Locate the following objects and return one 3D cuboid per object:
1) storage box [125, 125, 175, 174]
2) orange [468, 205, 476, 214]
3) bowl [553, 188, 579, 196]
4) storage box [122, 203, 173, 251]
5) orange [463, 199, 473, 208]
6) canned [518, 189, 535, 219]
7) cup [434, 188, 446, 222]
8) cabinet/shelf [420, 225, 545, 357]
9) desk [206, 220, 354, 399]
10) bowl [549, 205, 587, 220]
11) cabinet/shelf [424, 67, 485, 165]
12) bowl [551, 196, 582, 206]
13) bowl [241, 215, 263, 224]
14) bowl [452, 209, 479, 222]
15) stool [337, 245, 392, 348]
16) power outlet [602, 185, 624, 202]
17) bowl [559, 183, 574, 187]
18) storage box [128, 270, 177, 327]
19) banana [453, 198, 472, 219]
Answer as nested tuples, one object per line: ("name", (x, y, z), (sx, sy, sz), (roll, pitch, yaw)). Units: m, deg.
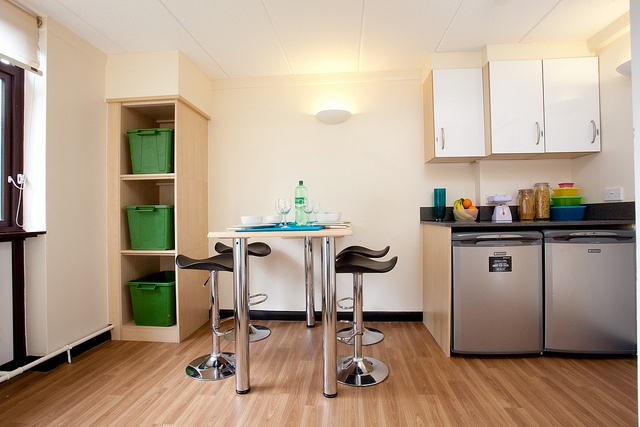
("storage box", (-1.761, -0.647, 4.939), (0.502, 0.460, 0.355), (0, 1, 10))
("orange", (1.615, -0.038, 4.862), (0.069, 0.074, 0.069), (-4, -3, 34))
("bowl", (2.545, -0.218, 4.754), (0.167, 0.070, 0.117), (1, 1, 20))
("storage box", (-1.785, 0.147, 4.936), (0.496, 0.450, 0.418), (-1, 0, 11))
("orange", (1.585, -0.098, 4.931), (0.094, 0.112, 0.093), (2, -14, -3))
("canned", (2.184, -0.086, 4.851), (0.153, 0.224, 0.094), (-2, 0, 21))
("cup", (1.325, -0.101, 5.054), (0.131, 0.280, 0.186), (-2, 0, 12))
("cabinet/shelf", (1.501, 0.798, 4.884), (0.942, 1.329, 1.266), (-1, -4, 8))
("desk", (-0.318, 1.124, 4.520), (1.264, 1.488, 2.342), (-1, 1, 4))
("bowl", (2.549, -0.002, 4.699), (0.330, 0.145, 0.277), (-2, 0, 19))
("cabinet/shelf", (1.468, -1.089, 5.123), (0.643, 0.889, 0.694), (-5, 11, -10))
("bowl", (2.553, -0.124, 4.735), (0.182, 0.076, 0.127), (1, 0, 4))
("bowl", (-0.591, 0.062, 3.942), (0.099, 0.044, 0.098), (-1, -5, 0))
("bowl", (1.566, 0.019, 4.895), (0.258, 0.097, 0.275), (-2, 0, 0))
("stool", (0.337, 0.781, 4.239), (0.566, 0.762, 0.791), (0, 0, 1))
("power outlet", (2.890, -0.194, 4.508), (0.050, 0.141, 0.166), (2, -4, -14))
("bowl", (2.606, -0.294, 4.802), (0.219, 0.051, 0.100), (-2, 0, -23))
("storage box", (-1.755, 0.954, 4.922), (0.392, 0.370, 0.579), (-2, -9, 0))
("banana", (1.517, -0.048, 4.935), (0.195, 0.208, 0.212), (-5, -7, 39))
